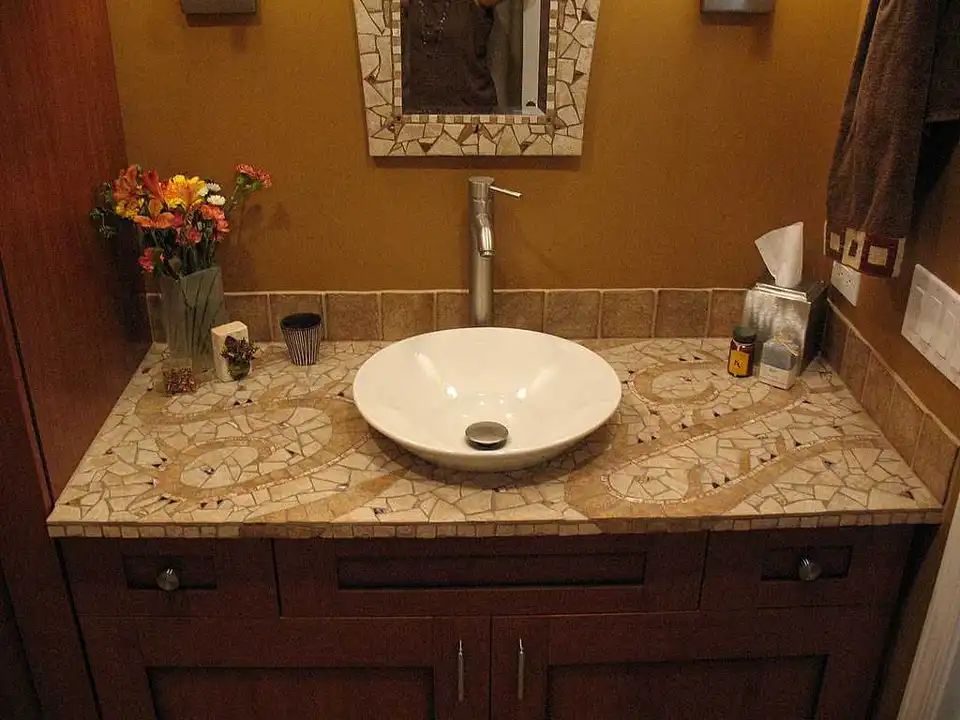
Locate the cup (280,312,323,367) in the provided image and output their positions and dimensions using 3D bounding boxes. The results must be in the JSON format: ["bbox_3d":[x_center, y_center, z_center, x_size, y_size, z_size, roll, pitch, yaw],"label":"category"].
[{"bbox_3d":[-0.456,-0.059,2.154,0.113,0.129,0.120,0,28,0],"label":"cup"}]

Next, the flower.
[{"bbox_3d":[-0.700,-0.346,1.938,0.318,0.234,0.264,-17,32,-39],"label":"flower"}]

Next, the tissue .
[{"bbox_3d":[0.772,-0.160,2.064,0.191,0.358,0.292,11,29,26],"label":"tissue "}]
